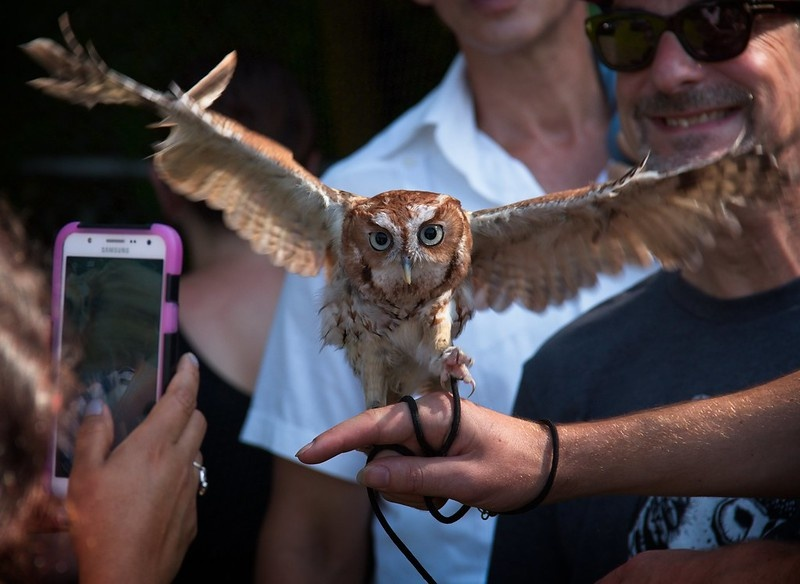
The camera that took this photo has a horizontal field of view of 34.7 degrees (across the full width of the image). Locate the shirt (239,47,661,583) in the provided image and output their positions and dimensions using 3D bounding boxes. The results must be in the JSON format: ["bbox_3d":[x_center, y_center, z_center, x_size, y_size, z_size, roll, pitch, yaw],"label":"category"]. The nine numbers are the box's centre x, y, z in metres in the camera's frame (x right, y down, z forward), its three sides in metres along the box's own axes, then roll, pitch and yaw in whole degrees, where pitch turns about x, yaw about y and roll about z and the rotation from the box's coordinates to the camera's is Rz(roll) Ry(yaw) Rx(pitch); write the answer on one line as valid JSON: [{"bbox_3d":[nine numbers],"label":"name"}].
[{"bbox_3d":[0.216,0.054,4.484,1.844,0.901,1.758,-1,81,-7],"label":"shirt"}]

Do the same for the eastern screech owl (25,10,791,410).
[{"bbox_3d":[-0.032,-0.322,4.072,2.229,1.078,1.032,18,71,20],"label":"eastern screech owl"}]
